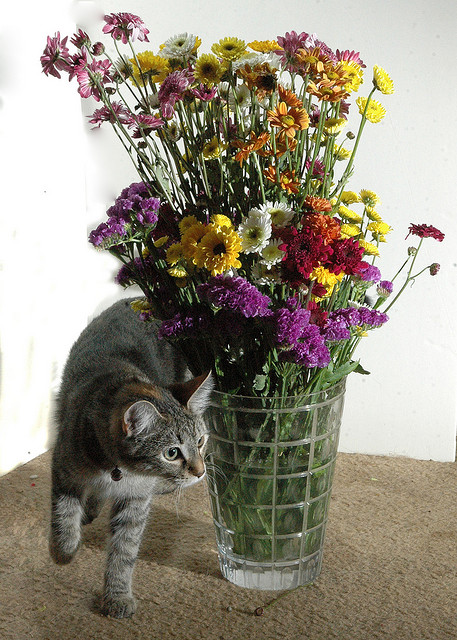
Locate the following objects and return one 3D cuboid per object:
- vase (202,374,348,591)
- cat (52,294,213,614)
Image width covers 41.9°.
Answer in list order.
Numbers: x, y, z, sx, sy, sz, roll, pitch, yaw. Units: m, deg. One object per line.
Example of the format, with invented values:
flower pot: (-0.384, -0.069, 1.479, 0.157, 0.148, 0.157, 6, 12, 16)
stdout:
vase: (0.062, 0.310, 1.173, 0.301, 0.358, 0.260, -2, 4, -18)
cat: (-0.206, 0.266, 1.206, 0.312, 0.496, 0.502, -2, 11, -10)
